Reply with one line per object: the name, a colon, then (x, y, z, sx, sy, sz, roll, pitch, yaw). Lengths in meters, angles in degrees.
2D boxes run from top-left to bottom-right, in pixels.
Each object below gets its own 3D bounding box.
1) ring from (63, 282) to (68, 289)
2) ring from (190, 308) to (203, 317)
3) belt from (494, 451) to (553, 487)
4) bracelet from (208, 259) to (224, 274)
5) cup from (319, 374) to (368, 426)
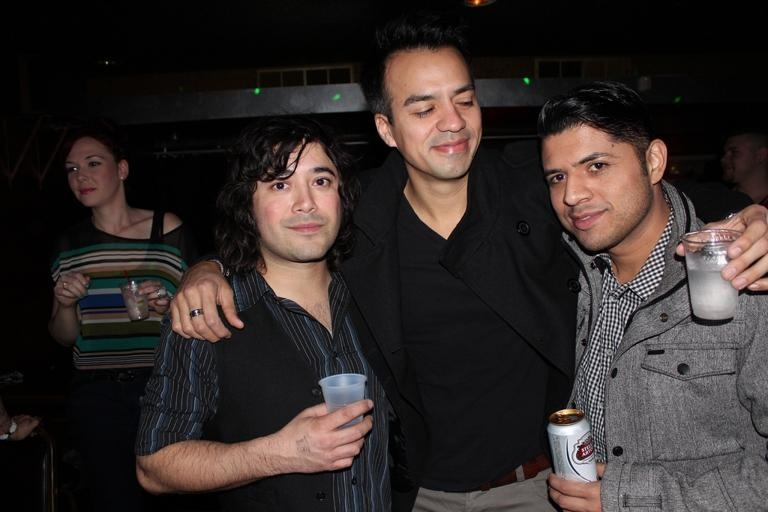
ring: (-2.497, 0.228, 4.627, 0.035, 0.043, 0.016, 1, -2, -1)
ring: (-1.056, 0.317, 3.311, 0.044, 0.025, 0.046, -9, -2, 0)
belt: (0.869, 1.332, 3.723, 0.295, 0.089, 0.248, -4, -26, -44)
bracelet: (-1.034, 0.063, 3.640, 0.087, 0.045, 0.104, -7, -6, 3)
cup: (-0.228, 0.797, 3.344, 0.295, 0.232, 0.286, -7, -11, -1)
